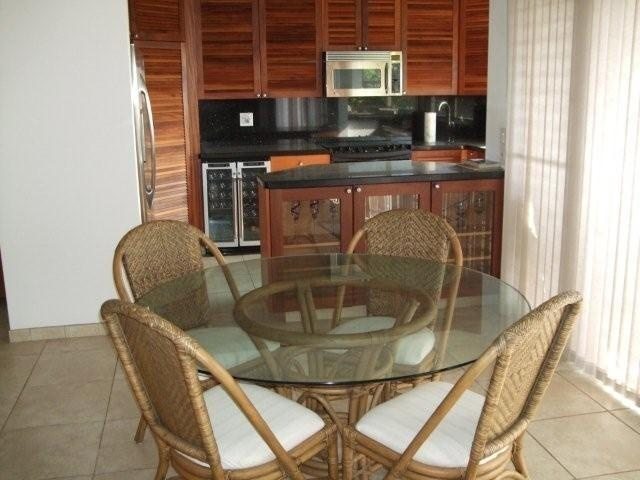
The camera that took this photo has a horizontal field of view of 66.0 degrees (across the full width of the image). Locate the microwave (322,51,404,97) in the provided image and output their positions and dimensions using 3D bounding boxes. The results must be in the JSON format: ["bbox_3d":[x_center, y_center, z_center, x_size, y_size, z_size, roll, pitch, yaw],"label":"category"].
[{"bbox_3d":[0.517,-2.033,5.954,1.070,0.472,0.596,-2,11,-12],"label":"microwave"}]

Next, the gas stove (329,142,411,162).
[{"bbox_3d":[0.601,-1.091,6.094,1.115,0.198,0.379,-8,13,-22],"label":"gas stove"}]

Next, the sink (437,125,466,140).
[{"bbox_3d":[1.755,-1.446,6.612,0.389,0.181,0.239,1,8,-1],"label":"sink"}]

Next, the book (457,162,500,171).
[{"bbox_3d":[1.276,-0.610,4.030,0.367,0.068,0.246,8,16,41],"label":"book"}]
